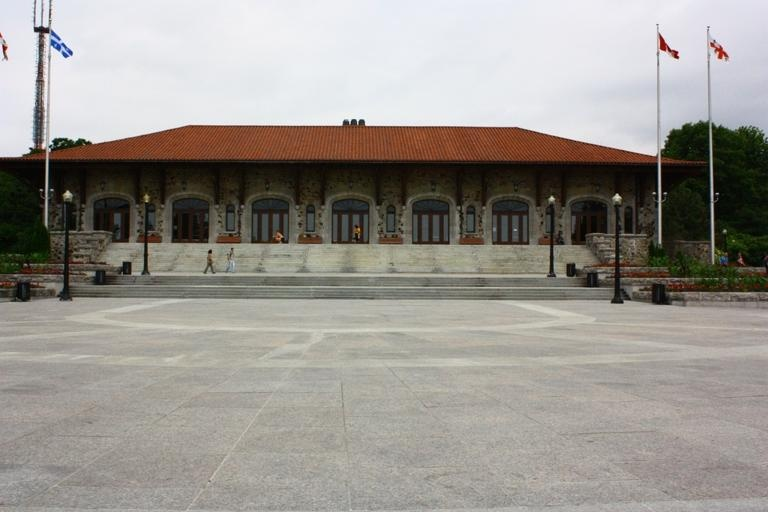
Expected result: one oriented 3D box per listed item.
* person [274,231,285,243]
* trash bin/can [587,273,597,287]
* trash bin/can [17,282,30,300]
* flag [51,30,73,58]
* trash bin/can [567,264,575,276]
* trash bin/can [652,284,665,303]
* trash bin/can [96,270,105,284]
[{"bbox_3d":[-7.064,-1.286,49.685,0.589,1.288,0.764,-1,44,-12],"label":"person"},{"bbox_3d":[9.651,1.060,34.144,0.575,0.605,0.566,0,-5,0],"label":"trash bin/can"},{"bbox_3d":[-14.172,1.345,28.918,0.421,0.730,0.417,-5,11,-29],"label":"trash bin/can"},{"bbox_3d":[-17.359,-11.343,39.430,0.957,1.425,4.237,-4,10,-24],"label":"flag"},{"bbox_3d":[9.674,0.620,38.041,0.431,0.621,0.593,2,10,12],"label":"trash bin/can"},{"bbox_3d":[11.393,1.544,30.439,0.577,0.723,0.633,3,10,18],"label":"trash bin/can"},{"bbox_3d":[-13.170,0.930,34.133,0.471,0.617,0.795,-4,10,-21],"label":"trash bin/can"}]
